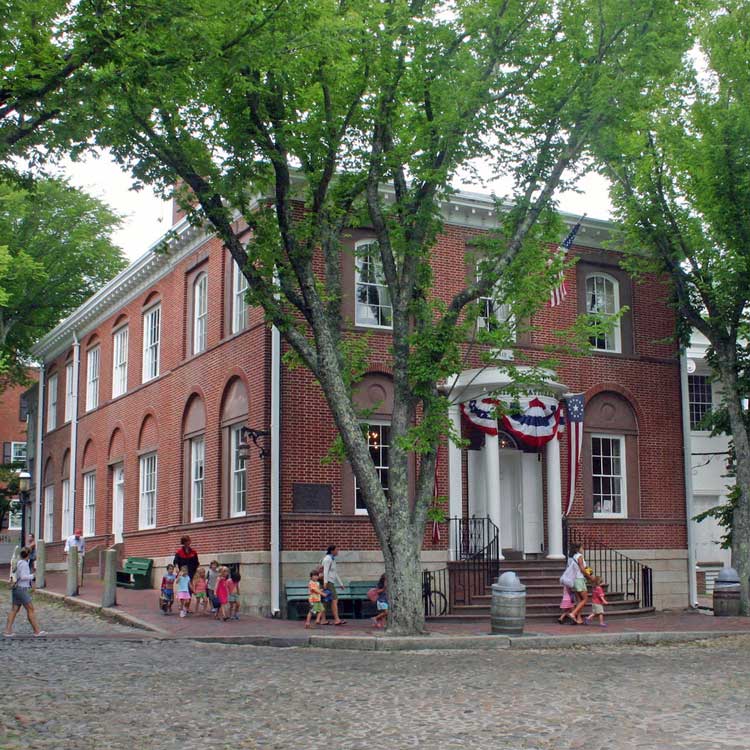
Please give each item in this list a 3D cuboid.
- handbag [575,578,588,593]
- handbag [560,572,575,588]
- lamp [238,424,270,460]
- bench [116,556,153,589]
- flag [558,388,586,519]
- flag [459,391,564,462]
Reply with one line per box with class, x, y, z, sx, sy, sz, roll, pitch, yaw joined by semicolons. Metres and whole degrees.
handbag;3.967;4.062;20.805;0.177;0.248;0.381;-4;-15;9
handbag;3.730;3.960;20.921;0.279;0.241;0.265;-6;-14;28
lamp;-2.546;1.401;22.903;0.625;0.832;1.185;1;-15;-6
bench;-6.267;5.239;28.457;0.705;0.871;1.723;6;-16;-25
flag;4.696;1.756;25.363;0.692;3.030;1.278;-4;-16;10
flag;3.008;1.097;23.983;2.038;0.952;0.213;2;2;-8
